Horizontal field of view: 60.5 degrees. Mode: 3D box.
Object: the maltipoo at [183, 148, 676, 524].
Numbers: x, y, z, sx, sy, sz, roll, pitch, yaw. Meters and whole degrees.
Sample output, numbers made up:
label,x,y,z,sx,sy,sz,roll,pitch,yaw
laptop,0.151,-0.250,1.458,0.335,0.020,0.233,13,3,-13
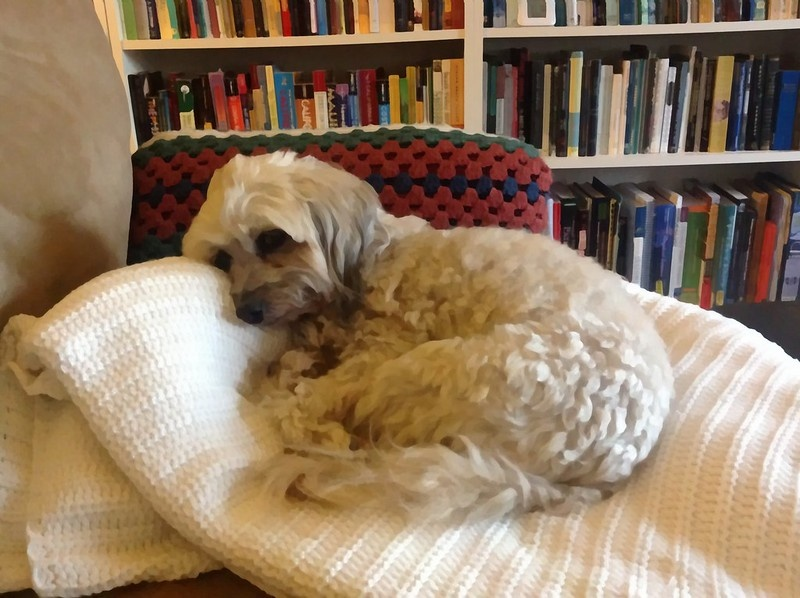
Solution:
label,x,y,z,sx,sy,sz,roll,pitch,yaw
maltipoo,0.026,0.123,0.948,0.567,0.279,0.453,14,38,20
